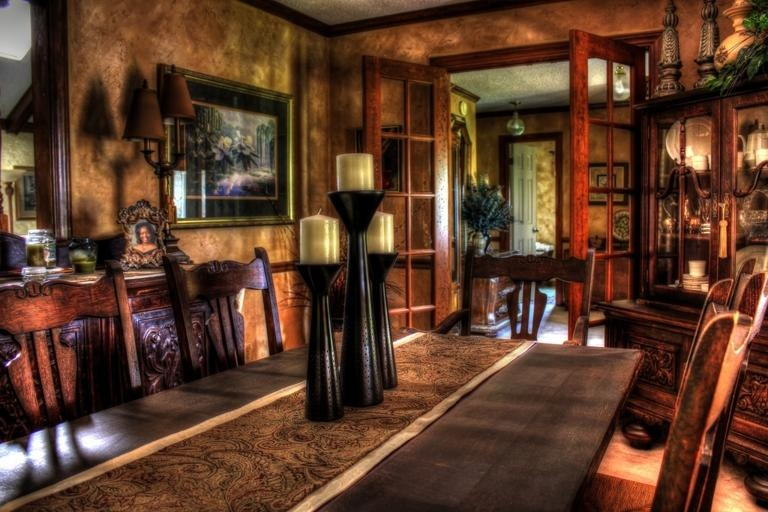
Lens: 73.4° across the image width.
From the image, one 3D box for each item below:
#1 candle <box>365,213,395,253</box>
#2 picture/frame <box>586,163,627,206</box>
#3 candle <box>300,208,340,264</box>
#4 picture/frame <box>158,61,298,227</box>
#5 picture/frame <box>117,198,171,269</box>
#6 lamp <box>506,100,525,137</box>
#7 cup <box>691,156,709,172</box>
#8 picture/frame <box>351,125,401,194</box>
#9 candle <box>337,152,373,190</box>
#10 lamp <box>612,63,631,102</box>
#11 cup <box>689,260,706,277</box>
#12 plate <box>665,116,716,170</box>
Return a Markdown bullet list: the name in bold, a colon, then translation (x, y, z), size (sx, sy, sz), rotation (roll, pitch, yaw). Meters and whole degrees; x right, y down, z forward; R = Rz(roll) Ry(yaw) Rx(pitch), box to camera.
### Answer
- **candle**: translation (-0.032, -0.077, 1.674), size (0.121, 0.133, 0.118), rotation (-3, 8, -12)
- **picture/frame**: translation (1.612, -0.526, 3.751), size (0.406, 0.286, 0.197), rotation (-11, 15, -43)
- **candle**: translation (-0.179, -0.045, 1.412), size (0.126, 0.138, 0.125), rotation (0, 6, 1)
- **picture/frame**: translation (-1.222, -0.810, 4.160), size (0.062, 1.146, 1.464), rotation (9, 11, 27)
- **picture/frame**: translation (-1.465, -0.134, 3.141), size (0.266, 0.399, 0.238), rotation (-6, 12, -24)
- **lamp**: translation (2.045, -2.125, 7.990), size (0.297, 0.523, 0.285), rotation (-15, 27, -16)
- **cup**: translation (1.877, -0.544, 3.073), size (0.087, 0.092, 0.086), rotation (0, 0, 0)
- **picture/frame**: translation (0.066, -0.841, 4.649), size (0.633, 0.625, 0.147), rotation (2, 8, 4)
- **candle**: translation (-0.089, -0.236, 1.483), size (0.116, 0.109, 0.115), rotation (-4, 7, -12)
- **lamp**: translation (1.710, -1.254, 3.747), size (0.153, 0.268, 0.118), rotation (7, 19, 31)
- **cup**: translation (1.875, 0.079, 3.091), size (0.084, 0.086, 0.086), rotation (-1, 2, 0)
- **plate**: translation (1.842, -0.672, 3.084), size (0.073, 0.267, 0.262), rotation (-13, 36, -30)
